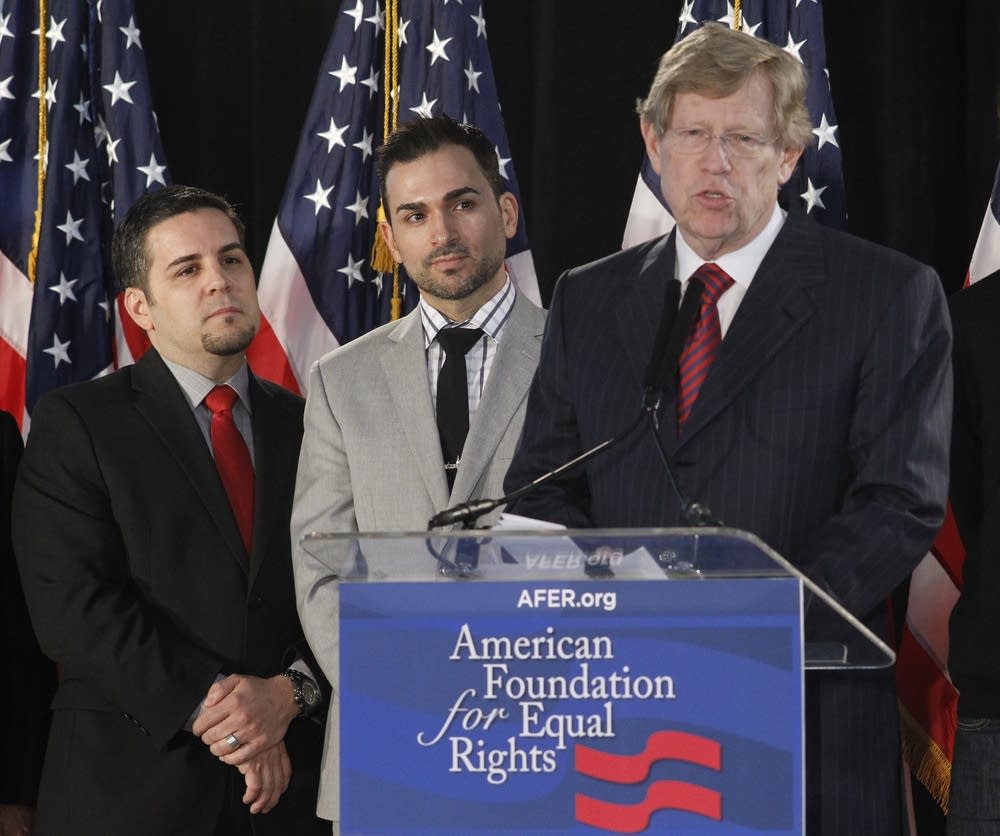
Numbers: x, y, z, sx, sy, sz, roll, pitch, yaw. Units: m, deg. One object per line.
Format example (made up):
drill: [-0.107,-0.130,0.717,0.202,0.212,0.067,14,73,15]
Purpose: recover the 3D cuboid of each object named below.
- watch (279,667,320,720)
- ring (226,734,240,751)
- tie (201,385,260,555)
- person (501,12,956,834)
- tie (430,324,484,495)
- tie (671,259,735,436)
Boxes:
watch: [-0.515,0.697,3.862,0.085,0.108,0.093,4,1,0]
ring: [-0.672,0.806,3.792,0.024,0.039,0.033,5,12,15]
tie: [-0.720,0.105,4.058,0.087,0.592,0.114,-1,-36,-13]
person: [0.494,-0.011,3.207,0.907,1.740,0.440,-4,-9,20]
tie: [-0.114,-0.007,3.971,0.091,0.426,0.041,-3,-31,4]
tie: [0.432,-0.172,3.258,0.082,0.444,0.056,9,-22,12]
